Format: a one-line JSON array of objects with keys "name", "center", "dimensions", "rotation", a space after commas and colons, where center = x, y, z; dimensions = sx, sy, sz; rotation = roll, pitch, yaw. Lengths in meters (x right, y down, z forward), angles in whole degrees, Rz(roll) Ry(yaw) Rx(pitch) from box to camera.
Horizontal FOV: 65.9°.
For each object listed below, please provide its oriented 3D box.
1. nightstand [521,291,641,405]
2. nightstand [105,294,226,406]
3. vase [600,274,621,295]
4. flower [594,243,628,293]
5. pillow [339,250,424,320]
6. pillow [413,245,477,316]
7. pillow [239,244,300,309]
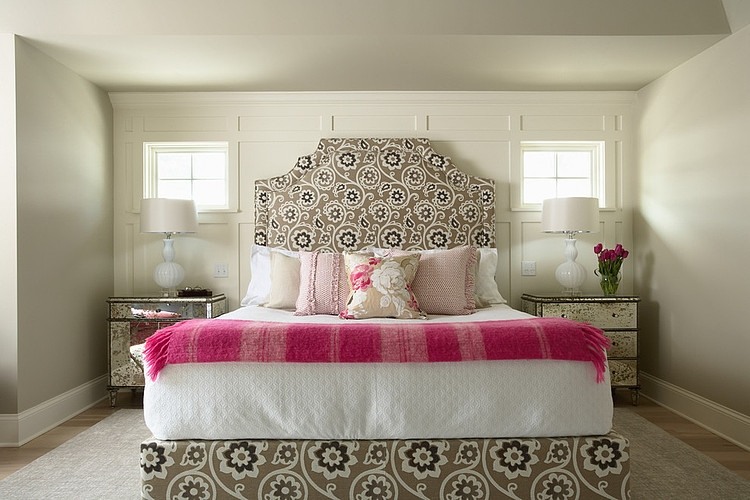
[{"name": "nightstand", "center": [1.998, 0.951, 5.645], "dimensions": [0.974, 0.995, 0.609], "rotation": [0, 0, -1]}, {"name": "nightstand", "center": [-1.913, 1.032, 5.646], "dimensions": [1.010, 1.026, 0.786], "rotation": [-1, -13, 12]}, {"name": "vase", "center": [2.271, 0.352, 5.655], "dimensions": [0.183, 0.208, 0.186], "rotation": [-9, -18, 44]}, {"name": "flower", "center": [2.305, 0.200, 5.615], "dimensions": [0.333, 0.473, 0.366], "rotation": [0, -2, -16]}, {"name": "pillow", "center": [0.059, 0.301, 4.584], "dimensions": [0.479, 0.428, 0.185], "rotation": [1, -31, -2]}, {"name": "pillow", "center": [0.579, 0.274, 4.815], "dimensions": [0.526, 0.508, 0.191], "rotation": [1, -36, 3]}, {"name": "pillow", "center": [-0.875, 0.251, 5.174], "dimensions": [0.165, 0.544, 0.548], "rotation": [17, -13, -39]}]
